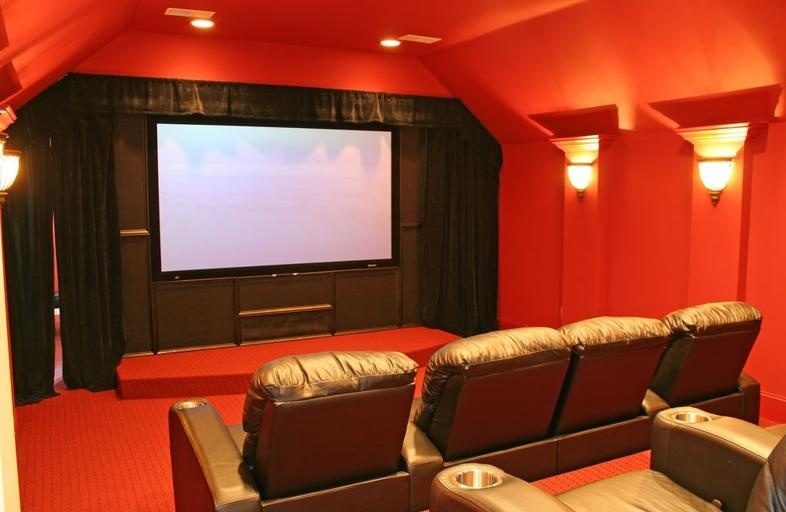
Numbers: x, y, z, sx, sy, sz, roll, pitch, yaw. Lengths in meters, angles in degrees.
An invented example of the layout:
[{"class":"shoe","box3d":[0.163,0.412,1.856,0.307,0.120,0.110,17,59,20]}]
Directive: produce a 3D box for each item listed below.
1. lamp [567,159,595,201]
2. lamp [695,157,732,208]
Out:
[{"class":"lamp","box3d":[1.988,-0.824,6.527,0.337,0.432,0.334,-1,4,-3]},{"class":"lamp","box3d":[2.857,-0.649,5.416,0.129,0.427,0.249,-8,8,-42]}]
